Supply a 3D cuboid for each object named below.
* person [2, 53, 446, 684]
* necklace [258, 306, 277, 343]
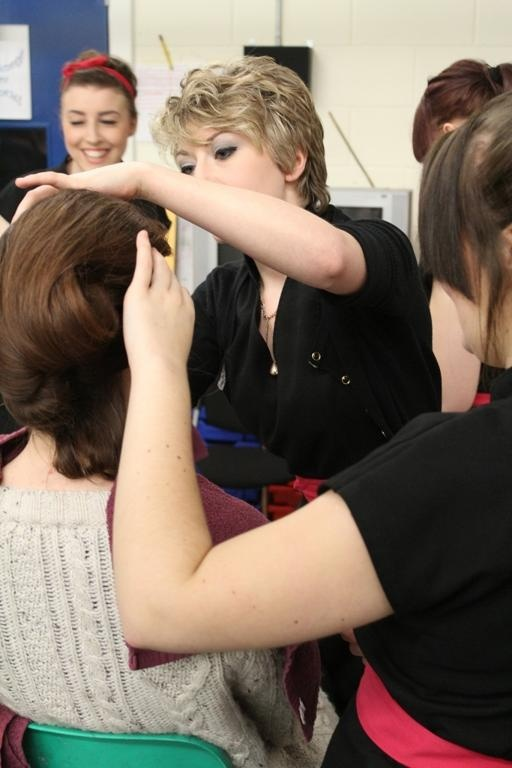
[{"bbox_3d":[0.004,-0.001,1.113,0.625,0.932,0.533,-10,0,14],"label":"person"},{"bbox_3d":[0.019,-0.098,1.130,0.038,0.049,0.019,-2,-7,43],"label":"necklace"}]
